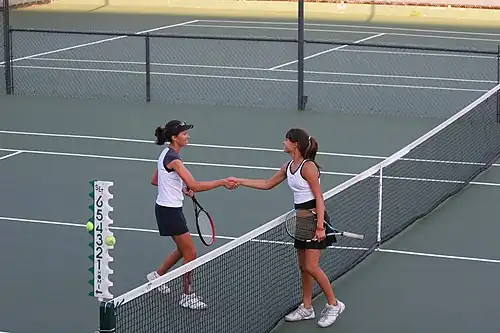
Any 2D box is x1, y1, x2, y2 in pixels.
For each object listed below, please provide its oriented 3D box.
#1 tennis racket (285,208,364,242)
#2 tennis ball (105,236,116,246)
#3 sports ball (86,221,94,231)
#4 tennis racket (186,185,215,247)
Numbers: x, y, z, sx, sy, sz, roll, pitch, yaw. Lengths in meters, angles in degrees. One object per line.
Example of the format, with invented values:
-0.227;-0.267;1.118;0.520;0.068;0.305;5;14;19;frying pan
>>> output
1.183;0.988;10.799;1.350;0.102;0.581;12;49;-14;tennis racket
-1.818;0.975;9.136;0.119;0.101;0.095;9;5;38;tennis ball
-2.108;0.775;9.216;0.079;0.124;0.214;-7;13;-18;sports ball
-0.911;0.925;12.565;0.076;1.146;0.456;-14;49;10;tennis racket
